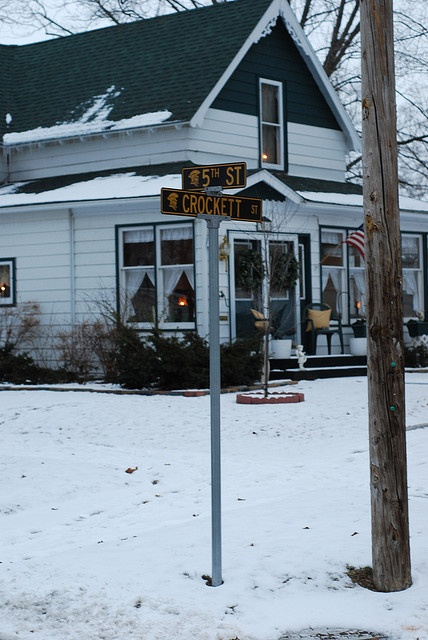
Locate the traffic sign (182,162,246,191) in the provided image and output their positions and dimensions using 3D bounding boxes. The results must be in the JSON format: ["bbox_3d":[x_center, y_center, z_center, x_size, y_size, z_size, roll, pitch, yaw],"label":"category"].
[{"bbox_3d":[-0.009,-0.964,7.177,0.433,0.180,0.302,0,5,4],"label":"traffic sign"}]

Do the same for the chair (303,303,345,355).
[{"bbox_3d":[1.867,0.129,18.074,0.623,0.942,0.627,-6,-7,19],"label":"chair"}]

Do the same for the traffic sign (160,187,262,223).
[{"bbox_3d":[-0.007,-0.773,7.142,0.700,0.212,0.385,-1,5,-8],"label":"traffic sign"}]

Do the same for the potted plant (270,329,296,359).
[{"bbox_3d":[1.098,0.388,16.919,0.391,0.396,0.378,1,-2,0],"label":"potted plant"}]
